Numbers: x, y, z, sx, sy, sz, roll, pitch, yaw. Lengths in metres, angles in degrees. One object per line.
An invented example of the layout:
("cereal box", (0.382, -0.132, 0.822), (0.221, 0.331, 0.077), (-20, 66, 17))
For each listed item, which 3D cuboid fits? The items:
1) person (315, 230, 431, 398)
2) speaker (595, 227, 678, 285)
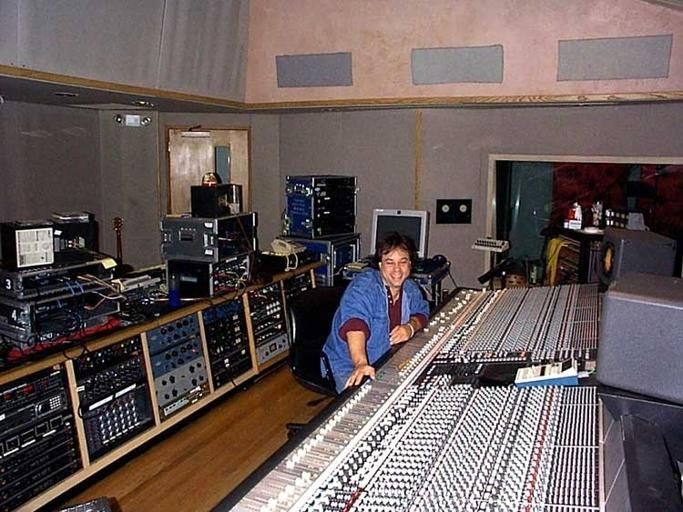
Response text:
("person", (0.159, 0.398, 2.959), (0.702, 0.976, 1.096), (0, 11, 9))
("speaker", (1.803, 0.002, 3.096), (0.397, 0.428, 0.416), (-3, 8, -4))
